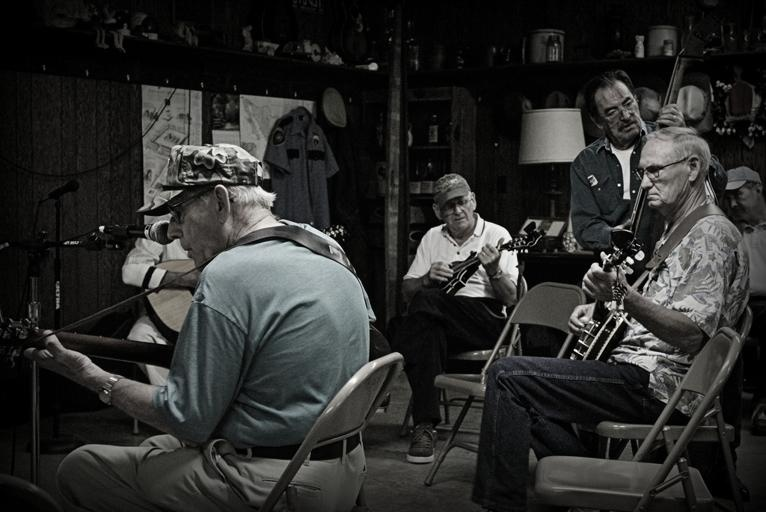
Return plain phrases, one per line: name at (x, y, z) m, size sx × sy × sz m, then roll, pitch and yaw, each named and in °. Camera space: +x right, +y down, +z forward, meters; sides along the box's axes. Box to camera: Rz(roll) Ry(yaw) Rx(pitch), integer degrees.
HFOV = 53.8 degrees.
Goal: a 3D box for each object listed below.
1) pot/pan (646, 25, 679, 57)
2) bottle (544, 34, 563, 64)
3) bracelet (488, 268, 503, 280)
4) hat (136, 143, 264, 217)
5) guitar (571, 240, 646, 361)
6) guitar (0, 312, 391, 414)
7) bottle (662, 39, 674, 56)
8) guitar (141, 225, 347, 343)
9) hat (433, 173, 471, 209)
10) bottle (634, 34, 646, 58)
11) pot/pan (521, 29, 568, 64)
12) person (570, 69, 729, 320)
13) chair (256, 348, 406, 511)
pot/pan at (2.395, -1.877, 6.685) m, size 0.284 × 0.300 × 0.282 m, roll 0°, pitch 6°, yaw 3°
bottle at (1.566, -1.916, 6.970) m, size 0.154 × 0.263 × 0.092 m, roll 3°, pitch 7°, yaw 5°
bracelet at (0.747, 0.120, 5.082) m, size 0.088 × 0.065 × 0.088 m, roll -3°, pitch 2°, yaw 24°
hat at (-0.677, -0.278, 2.812) m, size 0.426 × 0.206 × 0.261 m, roll -4°, pitch 3°, yaw -2°
guitar at (1.026, 0.225, 3.487) m, size 0.146 × 0.628 × 0.299 m, roll 7°, pitch 25°, yaw -16°
guitar at (-0.731, 0.480, 3.202) m, size 1.495 × 0.198 × 0.561 m, roll 6°, pitch 50°, yaw -17°
bottle at (2.466, -1.812, 6.570) m, size 0.100 × 0.156 × 0.065 m, roll 3°, pitch 7°, yaw 3°
guitar at (-0.923, 0.201, 4.748) m, size 1.273 × 0.729 × 0.298 m, roll -13°, pitch -16°, yaw 0°
hat at (0.484, -0.469, 5.462) m, size 0.197 × 0.152 × 0.263 m, roll -24°, pitch -3°, yaw 5°
bottle at (2.260, -1.851, 6.685) m, size 0.095 × 0.213 × 0.164 m, roll 5°, pitch 7°, yaw 18°
pot/pan at (1.474, -1.951, 7.006) m, size 0.350 × 0.256 × 0.352 m, roll 5°, pitch 7°, yaw 35°
person at (1.711, -0.323, 5.026) m, size 0.953 × 1.674 × 0.935 m, roll -6°, pitch 20°, yaw 19°
chair at (-0.160, 0.655, 2.696) m, size 0.256 × 0.600 × 0.538 m, roll 7°, pitch 8°, yaw 33°
